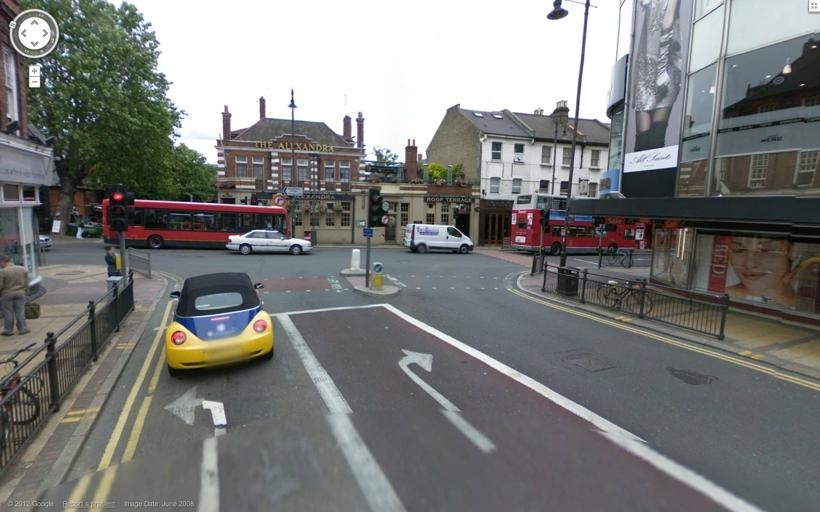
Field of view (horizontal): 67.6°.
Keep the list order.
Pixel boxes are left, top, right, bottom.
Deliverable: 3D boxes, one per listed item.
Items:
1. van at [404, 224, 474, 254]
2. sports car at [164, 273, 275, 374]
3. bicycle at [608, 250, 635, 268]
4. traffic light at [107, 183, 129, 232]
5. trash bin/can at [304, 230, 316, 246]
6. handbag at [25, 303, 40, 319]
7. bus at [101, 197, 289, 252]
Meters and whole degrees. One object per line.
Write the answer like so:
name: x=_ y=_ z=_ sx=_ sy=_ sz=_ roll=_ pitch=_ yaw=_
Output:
van: x=1.907 y=-1.298 z=41.675 sx=4.331 sy=2.110 sz=1.776 roll=0 pitch=0 yaw=-21
sports car: x=-6.710 y=2.022 z=21.680 sx=3.405 sy=2.904 sz=6.283 roll=-6 pitch=10 yaw=-20
bicycle: x=13.035 y=0.172 z=37.762 sx=1.426 sy=0.967 sz=2.361 roll=1 pitch=8 yaw=18
traffic light: x=-10.851 y=-1.781 z=22.907 sx=0.585 sy=1.761 sz=1.042 roll=-3 pitch=8 yaw=-16
trash bin/can: x=-7.252 y=-1.081 z=45.317 sx=0.996 sy=1.531 sz=1.512 roll=-2 pitch=9 yaw=-12
handbag: x=-13.560 y=1.966 z=22.142 sx=0.423 sy=0.474 sz=0.620 roll=-2 pitch=10 yaw=-20
bus: x=-12.963 y=-1.803 z=37.264 sx=13.312 sy=4.014 sz=3.263 roll=0 pitch=2 yaw=-11
